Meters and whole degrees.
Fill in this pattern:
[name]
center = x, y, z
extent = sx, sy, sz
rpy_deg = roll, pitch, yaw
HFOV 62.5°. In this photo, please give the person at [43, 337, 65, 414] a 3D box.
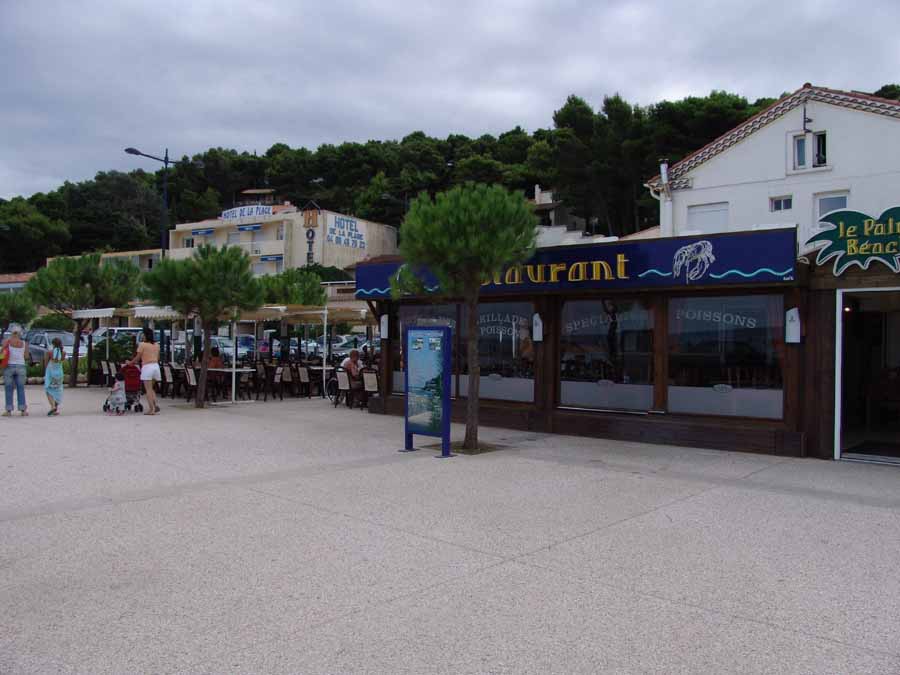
[person]
center = -9.053, 0.880, 17.059
extent = 0.354, 1.770, 1.984
rpy_deg = -1, 3, -29
